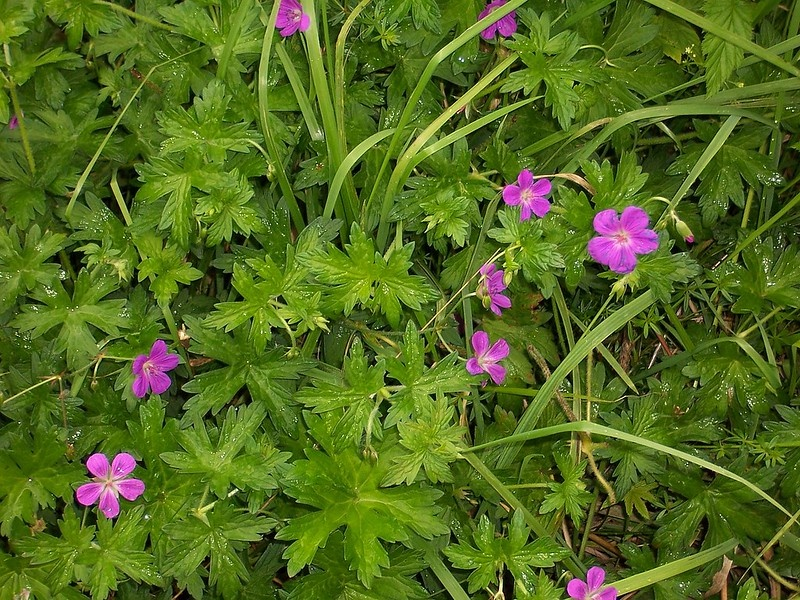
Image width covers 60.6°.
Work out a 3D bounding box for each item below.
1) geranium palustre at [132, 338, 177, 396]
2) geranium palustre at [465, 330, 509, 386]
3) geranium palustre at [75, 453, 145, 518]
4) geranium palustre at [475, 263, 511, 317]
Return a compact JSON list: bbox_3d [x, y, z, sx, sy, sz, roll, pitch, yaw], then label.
[{"bbox_3d":[-0.859,0.241,2.358,0.073,0.196,0.165,19,20,40],"label":"geranium palustre"},{"bbox_3d":[0.276,0.187,2.397,0.184,0.070,0.193,9,18,-18],"label":"geranium palustre"},{"bbox_3d":[-0.958,0.610,2.265,0.048,0.183,0.222,-53,23,42],"label":"geranium palustre"},{"bbox_3d":[0.313,-0.032,2.412,0.072,0.176,0.148,13,25,42],"label":"geranium palustre"}]
